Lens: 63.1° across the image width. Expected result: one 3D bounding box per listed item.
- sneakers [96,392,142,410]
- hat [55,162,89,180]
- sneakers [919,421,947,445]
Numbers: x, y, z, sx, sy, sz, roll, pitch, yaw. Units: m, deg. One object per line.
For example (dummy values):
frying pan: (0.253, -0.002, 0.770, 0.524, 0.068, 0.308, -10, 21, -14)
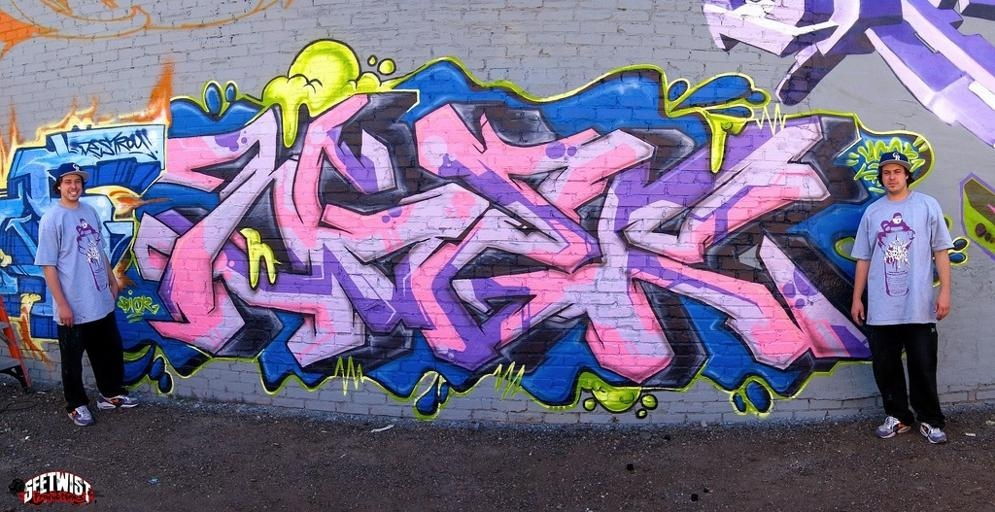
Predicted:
sneakers: (-5.157, 1.960, 10.962, 0.609, 0.204, 0.196, 0, 9, -14)
hat: (-5.751, -1.157, 10.968, 0.542, 0.156, 0.330, -7, -3, 21)
sneakers: (5.511, 2.241, 10.218, 0.192, 0.130, 0.357, -7, 1, -4)
